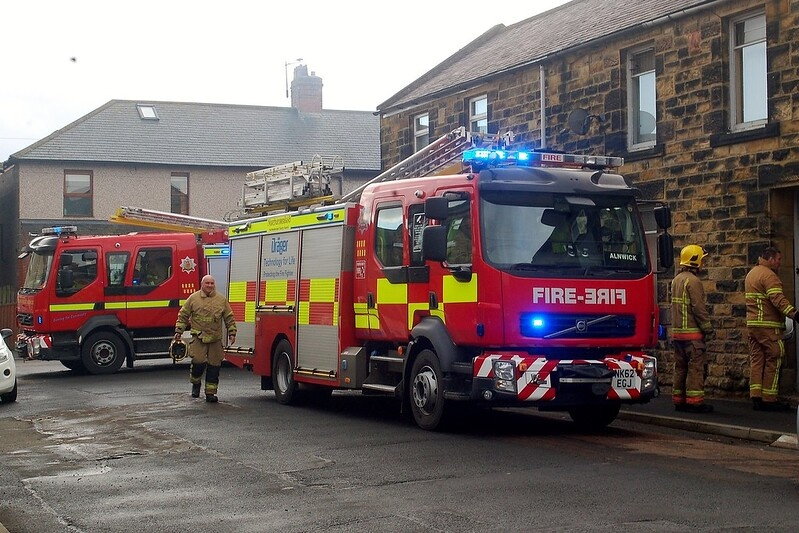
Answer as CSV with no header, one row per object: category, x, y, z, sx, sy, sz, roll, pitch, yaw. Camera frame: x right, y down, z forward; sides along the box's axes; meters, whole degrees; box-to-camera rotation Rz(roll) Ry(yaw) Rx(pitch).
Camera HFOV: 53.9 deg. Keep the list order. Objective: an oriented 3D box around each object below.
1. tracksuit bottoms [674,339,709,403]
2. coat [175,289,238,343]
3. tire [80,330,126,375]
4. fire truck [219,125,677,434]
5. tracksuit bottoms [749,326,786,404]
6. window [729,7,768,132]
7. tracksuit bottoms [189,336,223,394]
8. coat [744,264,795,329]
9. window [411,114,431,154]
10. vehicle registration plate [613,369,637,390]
tracksuit bottoms,4.686,1.706,12.699,0.498,1.024,0.460,-2,-3,33
coat,-3.680,0.980,15.095,1.624,1.304,0.658,1,-3,-25
tire,-7.857,2.238,20.705,1.053,1.000,0.394,13,-11,-32
fire truck,-0.091,0.396,13.317,3.067,4.036,8.290,1,-3,-42
tracksuit bottoms,6.067,1.524,12.903,0.458,1.288,0.609,5,-11,-21
window,6.412,-3.562,14.400,0.247,2.081,0.653,1,-3,-29
tracksuit bottoms,-3.651,1.862,14.698,0.595,1.095,0.671,-1,-2,-4
coat,6.109,0.511,12.923,0.463,0.907,1.136,-3,2,-17
window,0.703,-3.864,22.511,0.117,1.094,0.623,2,16,-15
vehicle registration plate,3.056,1.527,10.646,0.304,0.202,0.043,2,-3,-22
